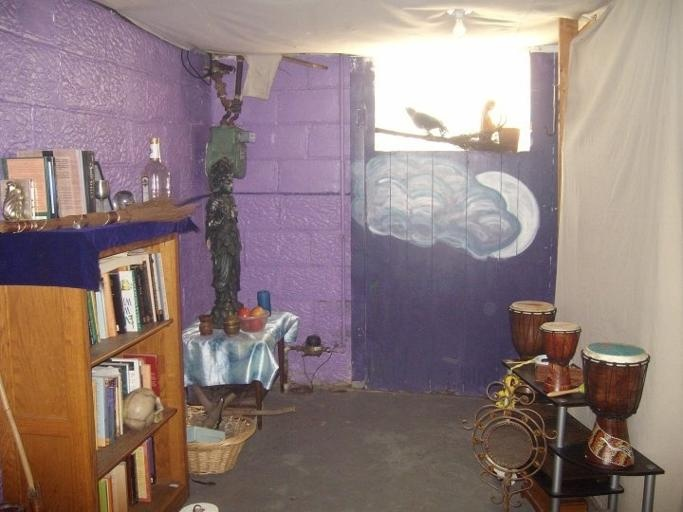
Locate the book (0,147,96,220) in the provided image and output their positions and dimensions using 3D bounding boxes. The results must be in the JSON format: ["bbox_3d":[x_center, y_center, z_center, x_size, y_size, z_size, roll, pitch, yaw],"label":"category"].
[{"bbox_3d":[-1.245,-0.342,2.634,0.385,0.392,0.298,4,8,18],"label":"book"}]

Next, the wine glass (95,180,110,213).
[{"bbox_3d":[-1.126,-0.288,2.806,0.063,0.149,0.150,-5,13,-19],"label":"wine glass"}]

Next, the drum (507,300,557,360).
[{"bbox_3d":[1.132,0.458,3.580,0.241,0.348,0.241,-4,10,1],"label":"drum"}]

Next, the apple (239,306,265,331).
[{"bbox_3d":[-0.614,0.434,4.138,0.150,0.098,0.150,-1,-2,11],"label":"apple"}]

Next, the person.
[{"bbox_3d":[-0.845,-0.108,4.249,0.235,1.141,0.435,-3,13,-13],"label":"person"}]

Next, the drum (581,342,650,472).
[{"bbox_3d":[1.316,0.733,2.913,0.312,0.539,0.303,2,5,0],"label":"drum"}]

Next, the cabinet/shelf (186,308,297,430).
[{"bbox_3d":[-0.714,0.696,4.102,0.638,0.481,0.906,1,3,6],"label":"cabinet/shelf"}]

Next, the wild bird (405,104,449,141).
[{"bbox_3d":[0.665,-1.027,4.601,0.331,0.242,0.145,4,15,10],"label":"wild bird"}]
